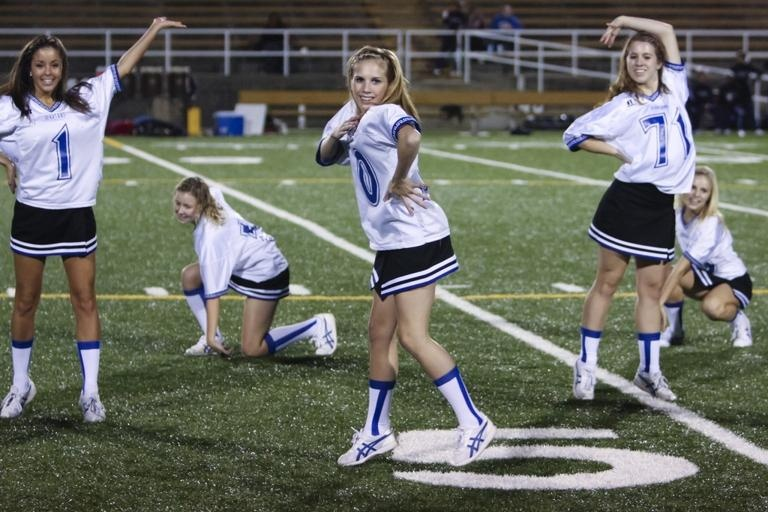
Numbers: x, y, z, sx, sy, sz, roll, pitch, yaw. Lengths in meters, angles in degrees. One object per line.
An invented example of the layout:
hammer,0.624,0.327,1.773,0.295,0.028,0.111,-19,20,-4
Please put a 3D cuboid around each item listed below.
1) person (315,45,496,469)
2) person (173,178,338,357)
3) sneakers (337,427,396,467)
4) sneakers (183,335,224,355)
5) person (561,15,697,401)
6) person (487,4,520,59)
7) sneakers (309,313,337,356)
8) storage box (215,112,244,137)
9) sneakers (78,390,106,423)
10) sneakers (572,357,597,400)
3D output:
person,0.104,0.011,5.814,1.029,2.169,0.463,4,6,6
person,-0.823,-0.083,7.284,1.233,1.485,0.961,-2,25,-6
sneakers,-0.089,1.006,5.915,0.363,0.157,0.134,-21,-1,-20
sneakers,-1.159,0.560,7.017,0.306,0.127,0.108,1,-1,-19
person,1.441,-0.274,6.467,0.722,2.223,0.328,5,6,9
person,2.773,-5.167,25.221,0.684,1.125,0.889,4,6,5
sneakers,-0.370,0.488,7.104,0.144,0.302,0.117,-12,4,-29
storage box,-2.841,-2.415,20.225,0.518,0.325,0.501,2,6,11
sneakers,-1.624,0.833,6.188,0.096,0.083,0.205,-11,22,-35
sneakers,1.177,0.699,6.467,0.108,0.249,0.118,-2,3,1
